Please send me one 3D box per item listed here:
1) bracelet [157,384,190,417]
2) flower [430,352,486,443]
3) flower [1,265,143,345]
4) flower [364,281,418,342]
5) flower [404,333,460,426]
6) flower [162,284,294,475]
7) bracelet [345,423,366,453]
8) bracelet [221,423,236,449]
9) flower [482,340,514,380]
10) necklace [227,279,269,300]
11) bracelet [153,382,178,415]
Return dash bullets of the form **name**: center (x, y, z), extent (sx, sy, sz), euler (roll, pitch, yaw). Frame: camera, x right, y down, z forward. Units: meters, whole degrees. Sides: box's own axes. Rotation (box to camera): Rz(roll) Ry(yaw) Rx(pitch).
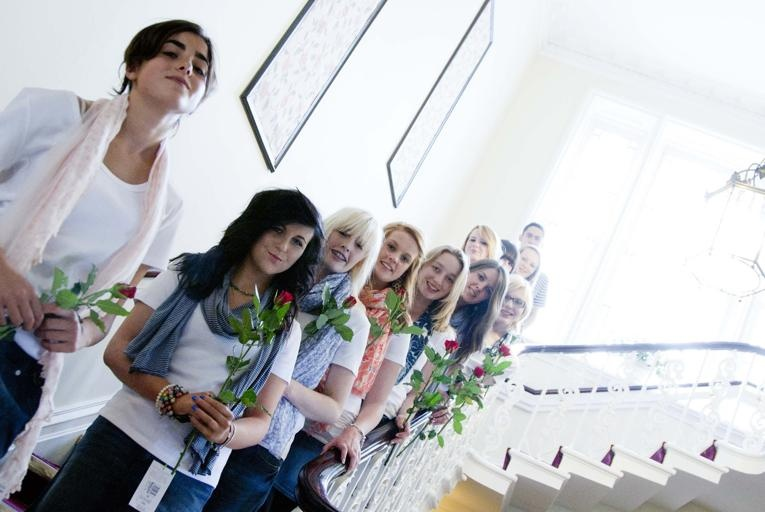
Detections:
- **bracelet**: center (-0.740, 0.516, 1.829), extent (0.093, 0.104, 0.047), euler (-6, -23, 12)
- **flower**: center (0.522, 0.838, 3.239), extent (0.155, 0.454, 0.387), euler (-9, -64, 20)
- **flower**: center (-1.157, 0.178, 1.895), extent (0.318, 0.186, 0.173), euler (-2, -60, 8)
- **flower**: center (0.015, 0.306, 2.725), extent (0.099, 0.272, 0.262), euler (-16, 12, 30)
- **flower**: center (0.260, 0.732, 3.056), extent (0.280, 0.539, 0.233), euler (22, 2, -19)
- **flower**: center (-0.572, 0.453, 2.019), extent (0.457, 0.705, 0.121), euler (16, -13, 6)
- **bracelet**: center (-0.117, 0.841, 2.383), extent (0.041, 0.096, 0.072), euler (-18, -42, 39)
- **bracelet**: center (-0.545, 0.642, 1.864), extent (0.065, 0.080, 0.031), euler (-18, -44, 36)
- **flower**: center (0.816, 0.683, 3.543), extent (0.122, 0.122, 0.185), euler (10, -34, -1)
- **necklace**: center (-0.531, 0.138, 2.046), extent (0.107, 0.026, 0.093), euler (6, -9, 12)
- **bracelet**: center (-0.756, 0.500, 1.818), extent (0.032, 0.090, 0.085), euler (13, -48, 1)
